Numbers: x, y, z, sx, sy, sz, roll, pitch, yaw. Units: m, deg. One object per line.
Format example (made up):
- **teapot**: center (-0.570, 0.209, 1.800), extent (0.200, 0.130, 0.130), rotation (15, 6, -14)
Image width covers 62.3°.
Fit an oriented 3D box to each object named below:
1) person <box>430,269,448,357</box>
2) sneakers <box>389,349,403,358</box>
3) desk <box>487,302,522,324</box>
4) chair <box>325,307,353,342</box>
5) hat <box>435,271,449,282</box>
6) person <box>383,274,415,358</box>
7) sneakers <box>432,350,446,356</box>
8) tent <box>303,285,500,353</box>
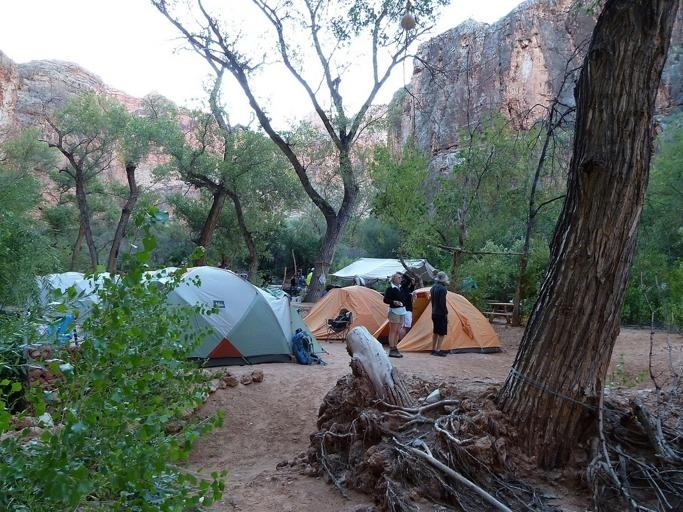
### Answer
- **person**: center (2.059, 1.234, 11.965), extent (0.386, 1.769, 0.801), rotation (2, 0, 11)
- **sneakers**: center (1.122, 1.997, 11.557), extent (0.275, 0.166, 0.389), rotation (2, -1, 6)
- **desk**: center (5.343, 1.873, 18.923), extent (0.745, 0.475, 0.862), rotation (-3, 4, -24)
- **chair**: center (-0.035, 1.736, 13.930), extent (0.582, 0.807, 0.641), rotation (-2, -2, -15)
- **hat**: center (2.103, 0.517, 11.872), extent (0.321, 0.178, 0.364), rotation (3, 19, -1)
- **person**: center (1.230, 1.248, 12.242), extent (0.547, 1.696, 1.912), rotation (2, -1, 8)
- **sneakers**: center (2.068, 2.076, 11.997), extent (0.331, 0.154, 0.118), rotation (0, 2, -5)
- **tent**: center (1.512, 1.618, 13.603), extent (2.968, 1.081, 2.273), rotation (2, 1, -25)
